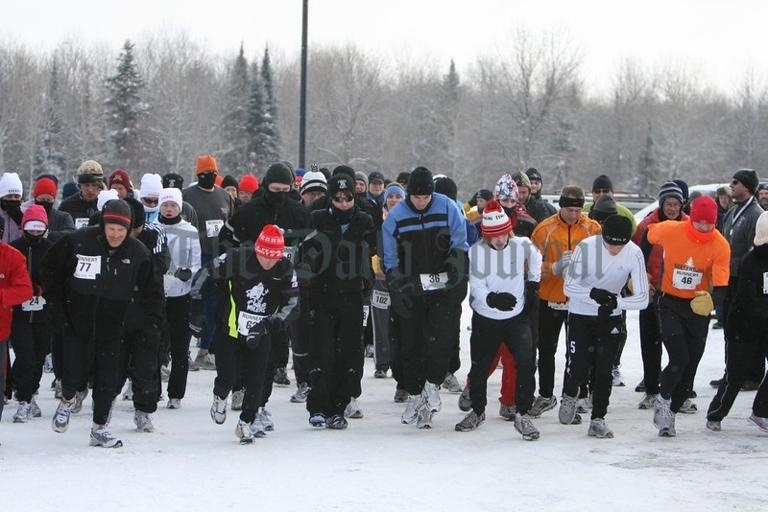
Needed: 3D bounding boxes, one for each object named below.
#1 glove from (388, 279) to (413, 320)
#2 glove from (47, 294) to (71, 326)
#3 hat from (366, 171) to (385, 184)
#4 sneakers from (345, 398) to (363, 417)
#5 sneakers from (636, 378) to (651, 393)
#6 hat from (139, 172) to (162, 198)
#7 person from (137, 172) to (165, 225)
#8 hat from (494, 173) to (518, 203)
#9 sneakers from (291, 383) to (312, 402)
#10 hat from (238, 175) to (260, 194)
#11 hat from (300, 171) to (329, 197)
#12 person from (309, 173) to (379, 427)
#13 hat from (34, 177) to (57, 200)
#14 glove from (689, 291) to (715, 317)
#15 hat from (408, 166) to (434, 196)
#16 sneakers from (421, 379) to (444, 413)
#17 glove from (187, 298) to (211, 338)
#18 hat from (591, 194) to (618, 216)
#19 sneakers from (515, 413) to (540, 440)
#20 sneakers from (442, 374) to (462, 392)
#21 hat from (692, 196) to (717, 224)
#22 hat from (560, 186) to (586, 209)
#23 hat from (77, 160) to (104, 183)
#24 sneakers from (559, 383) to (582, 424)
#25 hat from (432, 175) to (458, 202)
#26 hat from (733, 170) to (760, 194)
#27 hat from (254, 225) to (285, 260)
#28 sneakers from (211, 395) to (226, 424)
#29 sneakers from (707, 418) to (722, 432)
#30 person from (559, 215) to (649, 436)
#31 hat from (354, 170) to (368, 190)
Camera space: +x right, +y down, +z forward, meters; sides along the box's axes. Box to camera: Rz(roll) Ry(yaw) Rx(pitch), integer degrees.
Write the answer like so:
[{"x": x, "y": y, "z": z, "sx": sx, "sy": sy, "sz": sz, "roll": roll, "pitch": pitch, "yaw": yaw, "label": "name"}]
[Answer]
[{"x": 0.294, "y": 0.516, "z": 12.730, "sx": 0.121, "sy": 0.424, "sz": 0.305, "roll": -5, "pitch": -4, "yaw": -43, "label": "glove"}, {"x": -3.596, "y": 0.611, "z": 11.740, "sx": 0.309, "sy": 0.406, "sz": 0.221, "roll": -2, "pitch": -8, "yaw": -6, "label": "glove"}, {"x": 0.034, "y": -1.291, "z": 17.684, "sx": 0.203, "sy": 0.214, "sz": 0.271, "roll": -1, "pitch": -3, "yaw": -13, "label": "hat"}, {"x": -0.271, "y": 1.916, "z": 13.349, "sx": 0.182, "sy": 0.249, "sz": 0.244, "roll": 3, "pitch": -8, "yaw": -7, "label": "sneakers"}, {"x": 3.719, "y": 1.774, "z": 14.501, "sx": 0.114, "sy": 0.241, "sz": 0.341, "roll": 8, "pitch": -2, "yaw": -8, "label": "sneakers"}, {"x": -3.082, "y": -0.937, "z": 14.475, "sx": 0.286, "sy": 0.334, "sz": 0.391, "roll": 15, "pitch": 3, "yaw": -23, "label": "hat"}, {"x": -3.132, "y": -0.819, "z": 14.540, "sx": 0.440, "sy": 0.514, "sz": 1.099, "roll": 1, "pitch": -33, "yaw": -9, "label": "person"}, {"x": 1.807, "y": -0.930, "z": 14.161, "sx": 0.315, "sy": 0.359, "sz": 0.353, "roll": -1, "pitch": 3, "yaw": -6, "label": "hat"}, {"x": -1.002, "y": 1.823, "z": 14.075, "sx": 0.157, "sy": 0.174, "sz": 0.413, "roll": 0, "pitch": -5, "yaw": 12, "label": "sneakers"}, {"x": -2.164, "y": -1.235, "z": 17.820, "sx": 0.338, "sy": 0.343, "sz": 0.462, "roll": 3, "pitch": -5, "yaw": -2, "label": "hat"}, {"x": -0.910, "y": -1.076, "z": 15.490, "sx": 0.321, "sy": 0.355, "sz": 0.448, "roll": 4, "pitch": -11, "yaw": -12, "label": "hat"}, {"x": -0.417, "y": 0.547, "z": 12.855, "sx": 0.703, "sy": 2.998, "sz": 0.988, "roll": 2, "pitch": 8, "yaw": 10, "label": "person"}, {"x": -4.524, "y": -0.916, "z": 14.190, "sx": 0.271, "sy": 0.289, "sz": 0.352, "roll": 26, "pitch": 2, "yaw": -2, "label": "hat"}, {"x": 3.965, "y": 0.555, "z": 12.548, "sx": 0.227, "sy": 0.305, "sz": 0.132, "roll": 7, "pitch": 4, "yaw": 16, "label": "glove"}, {"x": 0.548, "y": -0.908, "z": 12.985, "sx": 0.305, "sy": 0.331, "sz": 0.341, "roll": 2, "pitch": 8, "yaw": -5, "label": "hat"}, {"x": 0.683, "y": 1.678, "z": 12.769, "sx": 0.221, "sy": 0.379, "sz": 0.213, "roll": 0, "pitch": 8, "yaw": -4, "label": "sneakers"}, {"x": -2.179, "y": 0.745, "z": 12.620, "sx": 0.354, "sy": 0.462, "sz": 0.184, "roll": 2, "pitch": 8, "yaw": -10, "label": "glove"}, {"x": 3.172, "y": -0.676, "z": 14.395, "sx": 0.229, "sy": 0.182, "sz": 0.327, "roll": -1, "pitch": -2, "yaw": 4, "label": "hat"}, {"x": 1.775, "y": 1.953, "z": 12.279, "sx": 0.175, "sy": 0.180, "sz": 0.391, "roll": 3, "pitch": 15, "yaw": -35, "label": "sneakers"}, {"x": 1.132, "y": 1.779, "z": 14.739, "sx": 0.159, "sy": 0.253, "sz": 0.348, "roll": 2, "pitch": -9, "yaw": -26, "label": "sneakers"}, {"x": 4.035, "y": -0.547, "z": 12.674, "sx": 0.306, "sy": 0.305, "sz": 0.330, "roll": 4, "pitch": 5, "yaw": 7, "label": "hat"}, {"x": 2.548, "y": -0.731, "z": 13.357, "sx": 0.270, "sy": 0.230, "sz": 0.281, "roll": 2, "pitch": 6, "yaw": -6, "label": "hat"}, {"x": -4.137, "y": -1.176, "z": 15.071, "sx": 0.318, "sy": 0.333, "sz": 0.392, "roll": 2, "pitch": -12, "yaw": -20, "label": "hat"}, {"x": 2.439, "y": 1.839, "z": 12.952, "sx": 0.209, "sy": 0.523, "sz": 0.237, "roll": 3, "pitch": 3, "yaw": 18, "label": "sneakers"}, {"x": 0.941, "y": -0.935, "z": 14.767, "sx": 0.305, "sy": 0.396, "sz": 0.413, "roll": 1, "pitch": 5, "yaw": -7, "label": "hat"}, {"x": 5.478, "y": -1.068, "z": 15.353, "sx": 0.331, "sy": 0.341, "sz": 0.443, "roll": 3, "pitch": 9, "yaw": 18, "label": "hat"}, {"x": -1.219, "y": -0.151, "z": 12.057, "sx": 0.287, "sy": 0.303, "sz": 0.393, "roll": 12, "pitch": 1, "yaw": -15, "label": "hat"}, {"x": -1.823, "y": 1.767, "z": 12.304, "sx": 0.150, "sy": 0.445, "sz": 0.184, "roll": -3, "pitch": -6, "yaw": -34, "label": "sneakers"}, {"x": 4.159, "y": 2.012, "z": 12.670, "sx": 0.097, "sy": 0.121, "sz": 0.183, "roll": 4, "pitch": -5, "yaw": -15, "label": "sneakers"}, {"x": 2.756, "y": 0.808, "z": 12.526, "sx": 1.005, "sy": 2.566, "sz": 0.922, "roll": 2, "pitch": 8, "yaw": 11, "label": "person"}, {"x": -0.226, "y": -1.140, "z": 16.392, "sx": 0.212, "sy": 0.298, "sz": 0.296, "roll": 1, "pitch": -7, "yaw": -1, "label": "hat"}]
